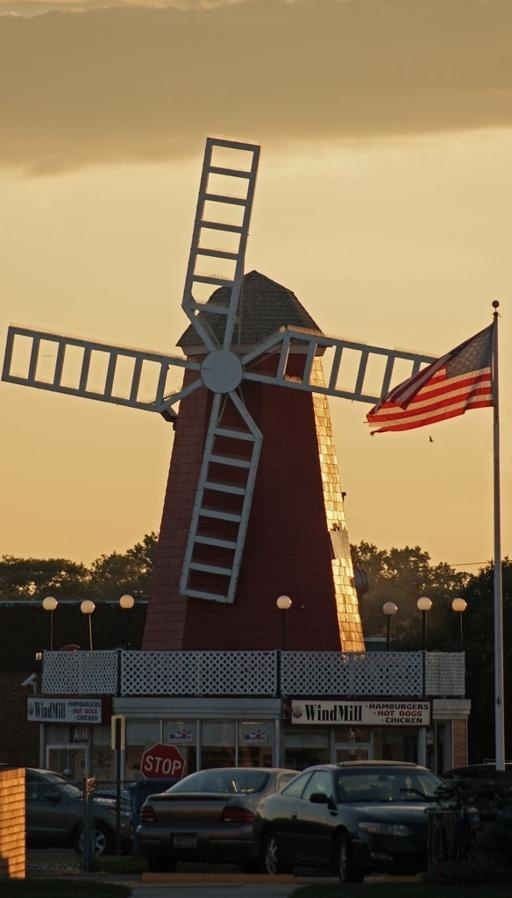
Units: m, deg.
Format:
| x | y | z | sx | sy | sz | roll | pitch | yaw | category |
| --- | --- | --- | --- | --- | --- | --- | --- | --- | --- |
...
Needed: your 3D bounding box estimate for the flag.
| x | y | z | sx | sy | sz | roll | pitch | yaw | category |
| --- | --- | --- | --- | --- | --- | --- | --- | --- | --- |
| 2.782 | -0.901 | 22.398 | 2.355 | 2.355 | 0.276 | 0 | 2 | 26 | flag |
